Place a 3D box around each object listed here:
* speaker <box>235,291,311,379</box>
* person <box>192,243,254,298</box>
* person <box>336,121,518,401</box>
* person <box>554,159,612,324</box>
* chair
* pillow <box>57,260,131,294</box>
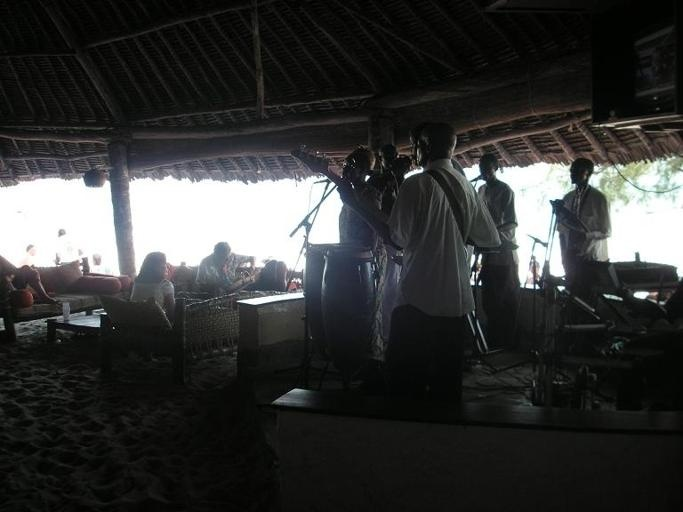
[{"bbox_3d":[-0.694,0.789,5.301,0.332,0.650,0.803,-3,-2,30],"label":"speaker"},{"bbox_3d":[-1.682,0.009,7.580,0.796,0.660,1.167,-7,-14,-11],"label":"person"},{"bbox_3d":[0.433,-0.006,2.830,0.631,1.371,0.633,1,12,24],"label":"person"},{"bbox_3d":[2.201,-0.215,4.889,0.463,1.330,0.956,1,12,24],"label":"person"},{"bbox_3d":[-1.923,0.705,5.278,0.693,0.885,0.763,1,1,9],"label":"chair"},{"bbox_3d":[-3.465,0.379,7.527,0.646,0.229,0.649,8,-7,-3],"label":"pillow"}]
